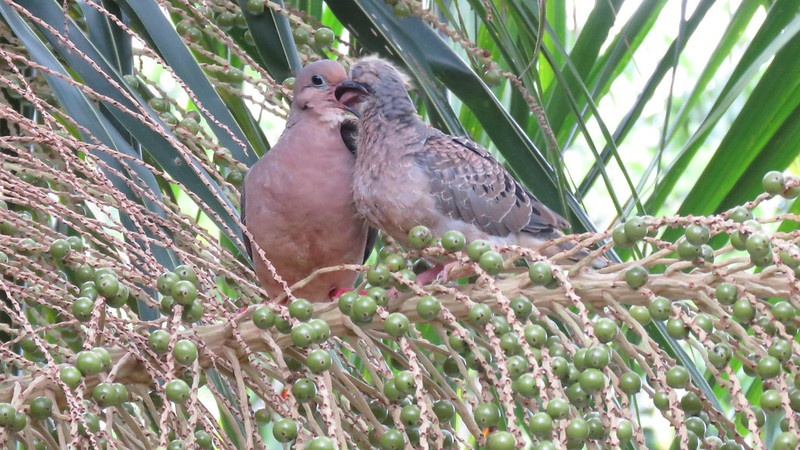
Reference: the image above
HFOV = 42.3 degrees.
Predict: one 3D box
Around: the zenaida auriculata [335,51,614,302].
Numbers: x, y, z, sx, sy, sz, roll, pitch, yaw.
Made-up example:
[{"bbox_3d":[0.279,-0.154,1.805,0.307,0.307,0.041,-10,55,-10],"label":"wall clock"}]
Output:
[{"bbox_3d":[0.225,-0.162,3.189,0.840,0.437,0.701,-5,85,-29],"label":"zenaida auriculata"}]
